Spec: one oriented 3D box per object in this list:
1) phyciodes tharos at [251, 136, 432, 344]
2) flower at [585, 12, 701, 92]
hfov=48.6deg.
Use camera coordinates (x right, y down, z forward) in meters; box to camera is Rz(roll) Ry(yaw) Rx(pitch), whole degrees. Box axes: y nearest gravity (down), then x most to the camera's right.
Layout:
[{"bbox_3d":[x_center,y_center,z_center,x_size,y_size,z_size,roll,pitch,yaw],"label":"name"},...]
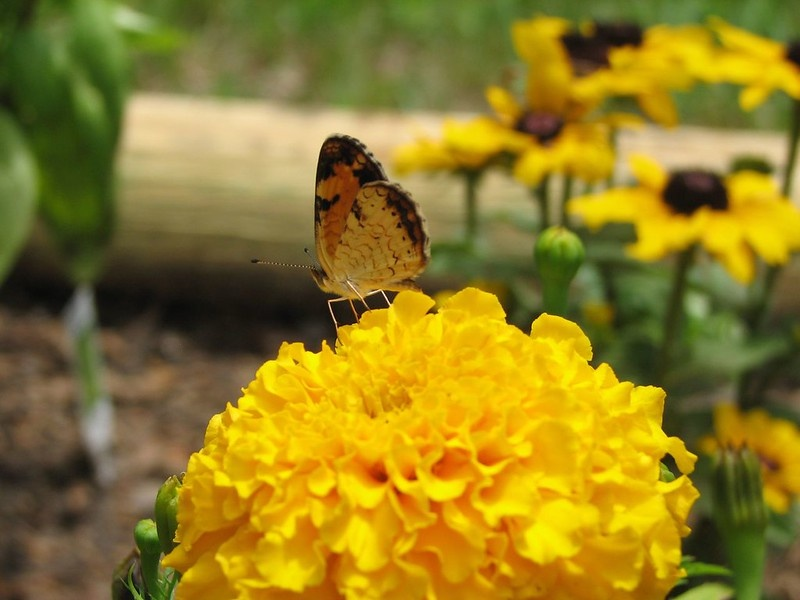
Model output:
[{"bbox_3d":[-0.087,-0.096,1.268,0.226,0.261,0.262,-16,10,-15],"label":"phyciodes tharos"},{"bbox_3d":[0.398,-0.377,1.357,0.154,0.073,0.086,13,37,17],"label":"flower"}]
